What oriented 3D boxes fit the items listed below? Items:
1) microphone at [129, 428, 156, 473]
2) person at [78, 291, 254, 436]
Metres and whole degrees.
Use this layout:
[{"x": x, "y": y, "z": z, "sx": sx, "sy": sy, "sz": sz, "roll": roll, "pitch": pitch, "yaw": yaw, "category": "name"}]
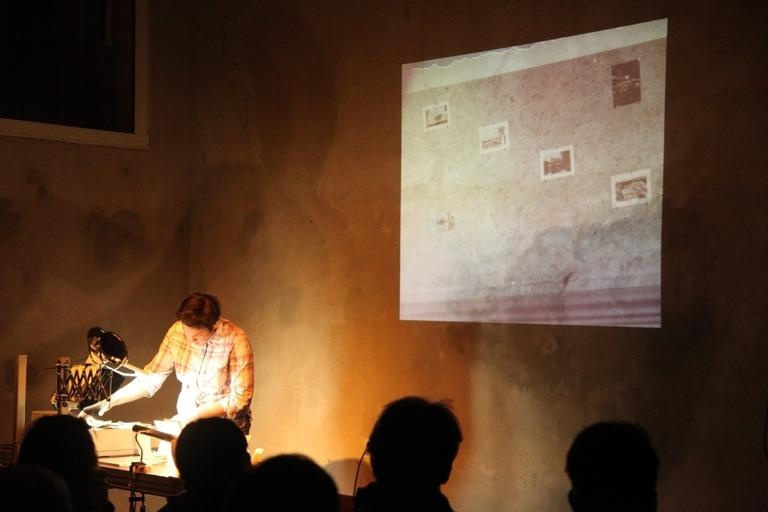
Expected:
[{"x": -1.438, "y": 1.144, "z": 4.790, "sx": 0.146, "sy": 0.234, "sz": 0.137, "roll": -4, "pitch": -9, "yaw": 15, "category": "microphone"}, {"x": -1.355, "y": 0.692, "z": 5.299, "sx": 0.928, "sy": 0.890, "sz": 0.456, "roll": -4, "pitch": -11, "yaw": 27, "category": "person"}]
